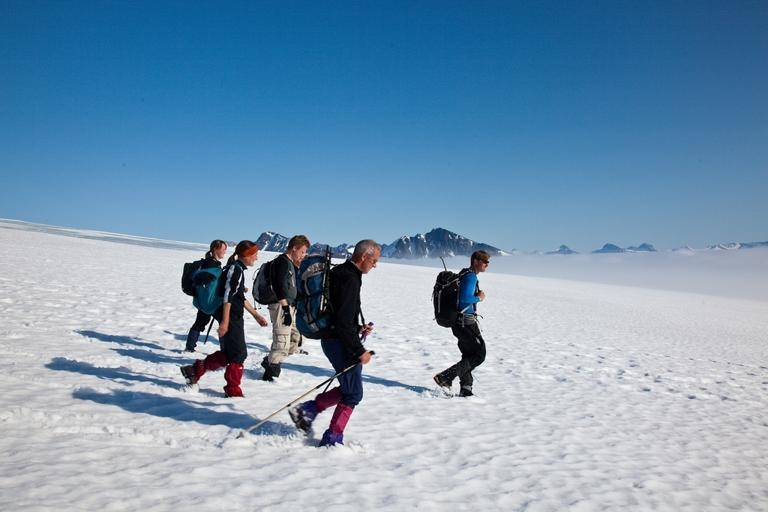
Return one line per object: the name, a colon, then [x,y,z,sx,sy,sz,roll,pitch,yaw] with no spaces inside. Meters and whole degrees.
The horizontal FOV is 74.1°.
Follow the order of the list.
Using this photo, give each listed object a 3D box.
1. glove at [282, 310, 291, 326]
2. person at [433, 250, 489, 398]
glove: [-2.088,1.328,11.046,0.107,0.290,0.249,-4,2,-32]
person: [1.819,1.575,11.996,1.399,3.506,1.016,11,8,10]
